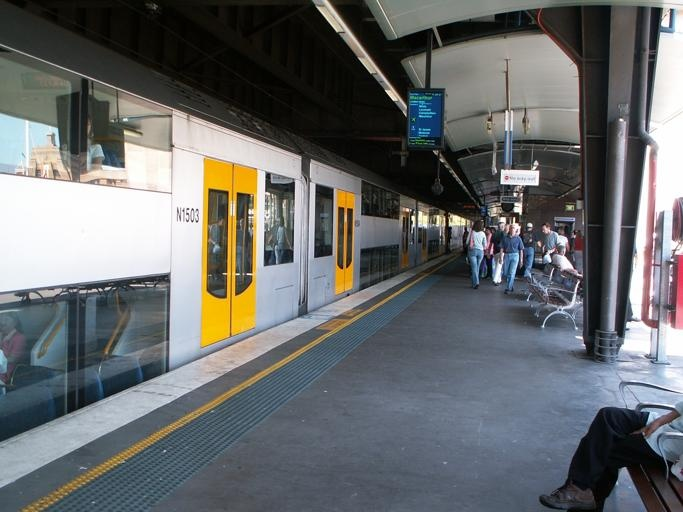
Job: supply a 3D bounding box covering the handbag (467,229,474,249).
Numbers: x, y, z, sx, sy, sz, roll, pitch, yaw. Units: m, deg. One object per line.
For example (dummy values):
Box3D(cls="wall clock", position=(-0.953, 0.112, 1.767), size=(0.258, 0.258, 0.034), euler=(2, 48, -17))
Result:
Box3D(cls="handbag", position=(4.191, -0.544, 15.342), size=(0.134, 0.527, 0.353), euler=(9, 5, 20))
